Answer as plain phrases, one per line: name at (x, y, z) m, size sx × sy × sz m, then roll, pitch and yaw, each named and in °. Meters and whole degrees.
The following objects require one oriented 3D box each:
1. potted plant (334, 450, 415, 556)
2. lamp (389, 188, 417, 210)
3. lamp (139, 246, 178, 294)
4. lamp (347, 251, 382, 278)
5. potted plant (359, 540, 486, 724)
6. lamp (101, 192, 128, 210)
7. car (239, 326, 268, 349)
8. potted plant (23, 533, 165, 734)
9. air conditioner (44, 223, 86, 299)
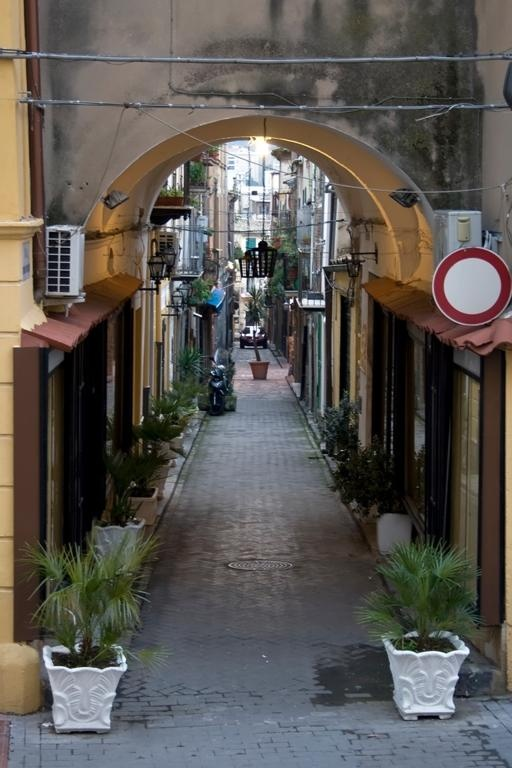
potted plant at (1.616, 1.530, 10.005) m, size 0.928 × 1.405 × 1.576 m, roll 0°, pitch 4°, yaw 1°
lamp at (1.611, -1.994, 7.687) m, size 0.320 × 0.190 × 0.272 m, roll 3°, pitch 5°, yaw 33°
lamp at (-1.832, -2.186, 13.854) m, size 0.485 × 0.851 × 1.817 m, roll -1°, pitch 4°, yaw -9°
lamp at (1.847, -2.085, 12.558) m, size 0.412 × 0.272 × 0.356 m, roll -1°, pitch 5°, yaw -7°
potted plant at (1.099, 1.704, 4.763) m, size 0.721 × 1.001 × 0.702 m, roll 13°, pitch -16°, yaw -26°
lamp at (-1.576, -1.979, 7.908) m, size 0.267 × 0.139 × 0.378 m, roll -31°, pitch 20°, yaw -21°
car at (-0.181, -3.381, 53.872) m, size 1.416 × 1.227 × 3.326 m, roll -1°, pitch -3°, yaw 1°
potted plant at (-1.061, 1.547, 4.397) m, size 0.724 × 1.128 × 0.679 m, roll 5°, pitch -14°, yaw 11°
air conditioner at (-1.604, -0.997, 5.950) m, size 0.289 × 0.611 × 0.390 m, roll -1°, pitch 5°, yaw -17°
